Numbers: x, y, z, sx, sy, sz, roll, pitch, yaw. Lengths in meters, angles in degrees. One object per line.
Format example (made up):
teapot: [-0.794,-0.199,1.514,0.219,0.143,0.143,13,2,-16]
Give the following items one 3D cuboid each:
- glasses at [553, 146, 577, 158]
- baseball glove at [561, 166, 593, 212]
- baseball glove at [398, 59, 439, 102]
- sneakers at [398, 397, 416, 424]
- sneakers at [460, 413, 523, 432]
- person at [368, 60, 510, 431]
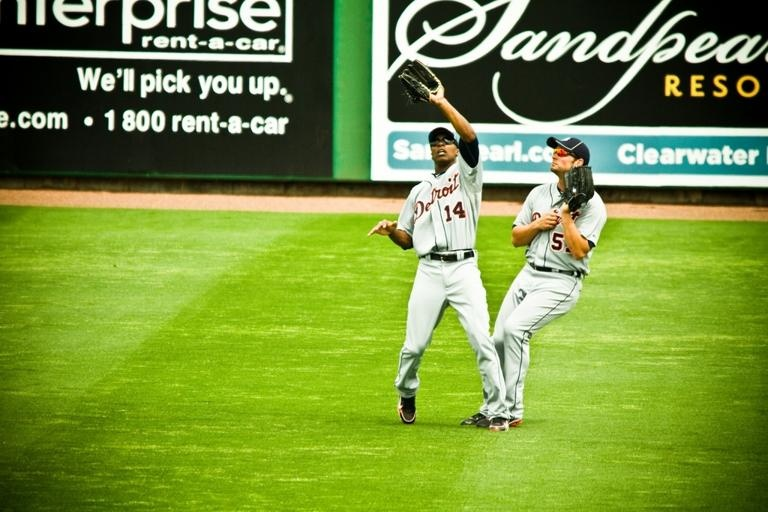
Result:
glasses: [1.697,-0.986,11.639,0.132,0.047,0.106,13,-11,-12]
baseball glove: [1.816,-0.651,11.482,0.249,0.304,0.343,3,-11,-44]
baseball glove: [0.311,-1.655,11.649,0.458,0.194,0.332,49,9,22]
sneakers: [0.229,1.496,11.869,0.117,0.309,0.132,2,-12,-7]
sneakers: [1.030,1.587,11.754,0.553,0.199,0.205,4,-2,-1]
person: [0.618,-0.084,11.647,1.192,3.460,0.572,3,5,8]
